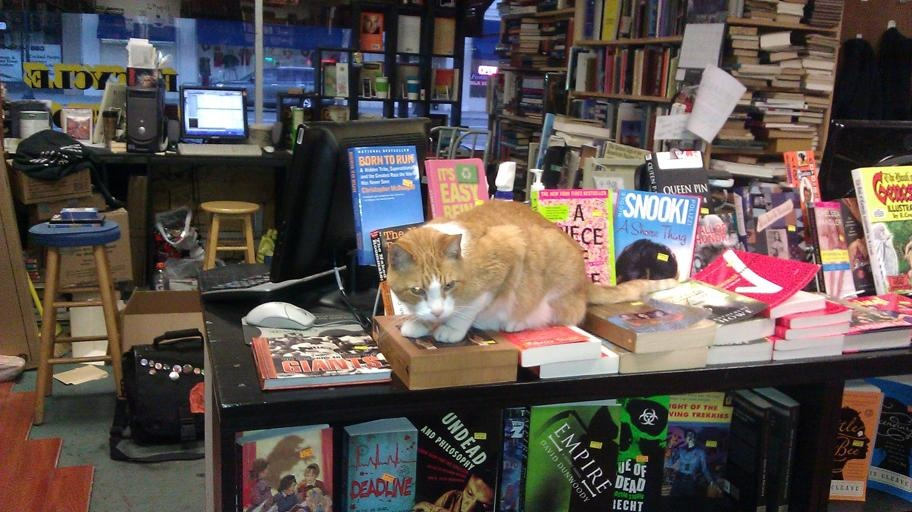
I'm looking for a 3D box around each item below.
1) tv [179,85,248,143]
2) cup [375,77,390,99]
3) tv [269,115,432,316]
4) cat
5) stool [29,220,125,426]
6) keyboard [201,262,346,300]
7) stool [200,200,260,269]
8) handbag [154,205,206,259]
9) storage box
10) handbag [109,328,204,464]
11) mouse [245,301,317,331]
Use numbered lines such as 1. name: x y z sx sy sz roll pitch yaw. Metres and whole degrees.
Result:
1. tv: -2.350 -1.350 6.349 0.680 0.481 0.086 -2 7 -15
2. cup: -0.934 -2.102 8.319 0.271 0.246 0.253 1 13 0
3. tv: -0.464 -0.157 3.040 0.944 0.848 0.496 -15 28 -42
4. cat: 0.294 0.013 2.859 1.200 0.419 0.375 -10 24 -9
5. stool: -2.527 0.394 4.419 0.633 1.252 0.992 -7 16 -24
6. keyboard: -0.991 0.131 3.182 0.440 0.123 0.291 7 11 5
7. stool: -2.000 -0.182 5.772 0.496 0.520 0.449 0 36 -13
8. handbag: -2.489 -0.208 5.946 0.376 0.439 0.295 -6 15 -20
9. storage box: -2.896 -0.216 4.882 1.197 0.880 0.608 -3 11 -13
10. handbag: -1.895 0.861 4.174 0.585 0.715 0.514 -4 15 -15
11. mouse: -0.774 0.260 2.900 0.243 0.068 0.131 0 13 -9
